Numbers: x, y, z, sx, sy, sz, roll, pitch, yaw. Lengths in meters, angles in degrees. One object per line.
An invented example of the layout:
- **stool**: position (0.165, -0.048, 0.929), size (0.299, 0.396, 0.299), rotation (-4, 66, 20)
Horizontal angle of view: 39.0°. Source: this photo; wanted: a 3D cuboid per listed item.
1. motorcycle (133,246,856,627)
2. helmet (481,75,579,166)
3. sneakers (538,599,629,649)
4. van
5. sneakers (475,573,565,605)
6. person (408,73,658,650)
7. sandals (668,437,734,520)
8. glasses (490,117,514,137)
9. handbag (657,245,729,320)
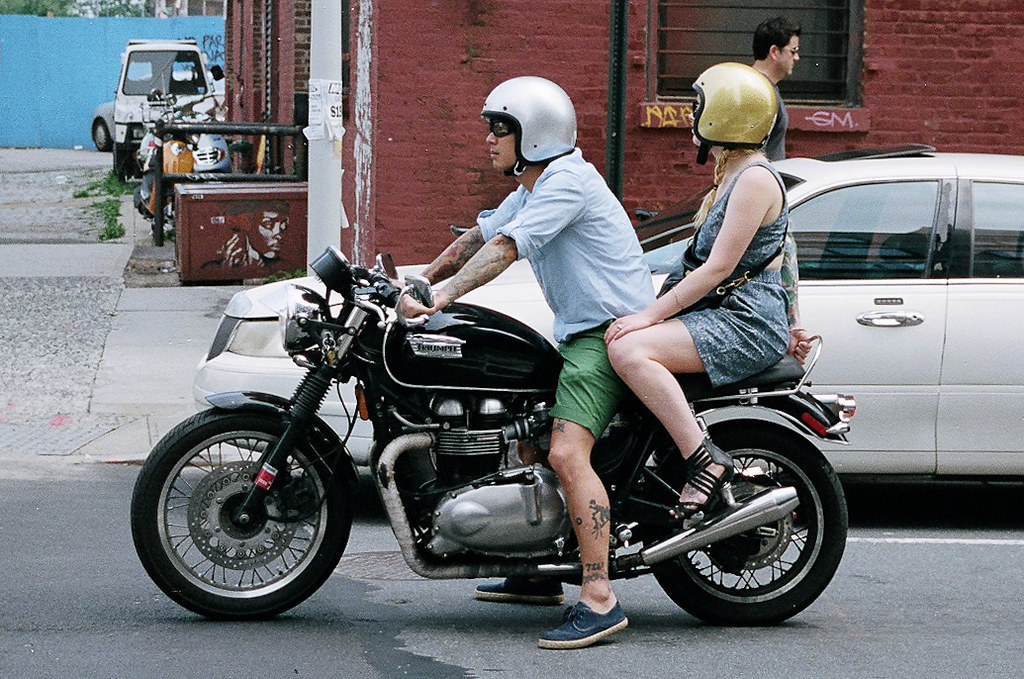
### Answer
- **motorcycle**: position (-0.069, 0.597, 7.843), size (3.988, 1.713, 1.288), rotation (1, 0, -3)
- **helmet**: position (0.101, -1.196, 7.807), size (0.538, 0.470, 0.488), rotation (6, 17, 25)
- **sneakers**: position (0.366, 1.500, 7.735), size (0.526, 0.182, 0.197), rotation (-11, 6, -14)
- **van**: position (-7.356, -4.986, 29.102), size (2.301, 2.017, 3.556), rotation (0, 3, -4)
- **sneakers**: position (0.067, 1.402, 8.355), size (0.613, 0.211, 0.209), rotation (3, -3, 3)
- **person**: position (0.184, 0.116, 7.703), size (1.081, 2.950, 0.960), rotation (3, 16, 5)
- **sandals**: position (1.033, 0.758, 7.674), size (0.242, 0.561, 0.196), rotation (5, 51, -14)
- **glasses**: position (-0.059, -1.135, 7.667), size (0.128, 0.041, 0.089), rotation (6, 22, -27)
- **handbag**: position (0.982, -0.303, 7.797), size (0.227, 0.300, 0.420), rotation (12, -44, -47)
